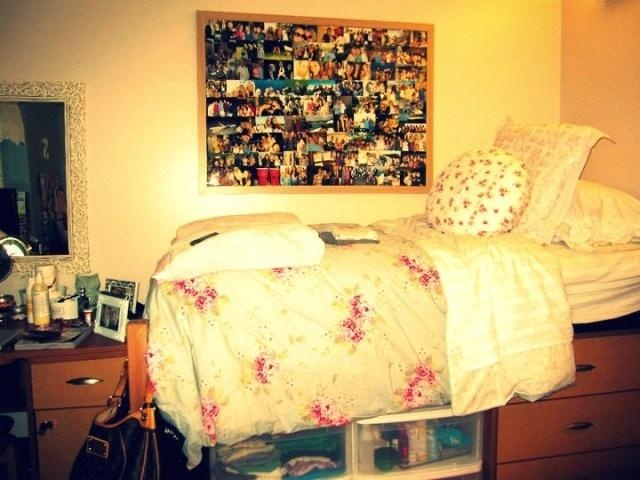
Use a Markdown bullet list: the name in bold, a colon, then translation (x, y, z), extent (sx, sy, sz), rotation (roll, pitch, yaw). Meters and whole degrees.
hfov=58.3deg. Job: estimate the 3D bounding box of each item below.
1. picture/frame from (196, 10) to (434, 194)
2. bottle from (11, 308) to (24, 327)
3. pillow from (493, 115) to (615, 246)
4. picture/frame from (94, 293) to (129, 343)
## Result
- **picture/frame**: translation (-0.090, -0.875, 3.525), extent (1.087, 0.852, 0.020), rotation (-1, 5, -9)
- **bottle**: translation (-1.600, 0.406, 3.061), extent (0.083, 0.091, 0.082), rotation (-1, 4, -35)
- **pillow**: translation (1.251, -0.261, 3.039), extent (0.153, 0.632, 0.599), rotation (8, 13, -35)
- **picture/frame**: translation (-1.034, 0.391, 2.861), extent (0.208, 0.227, 0.030), rotation (-1, -11, 28)
